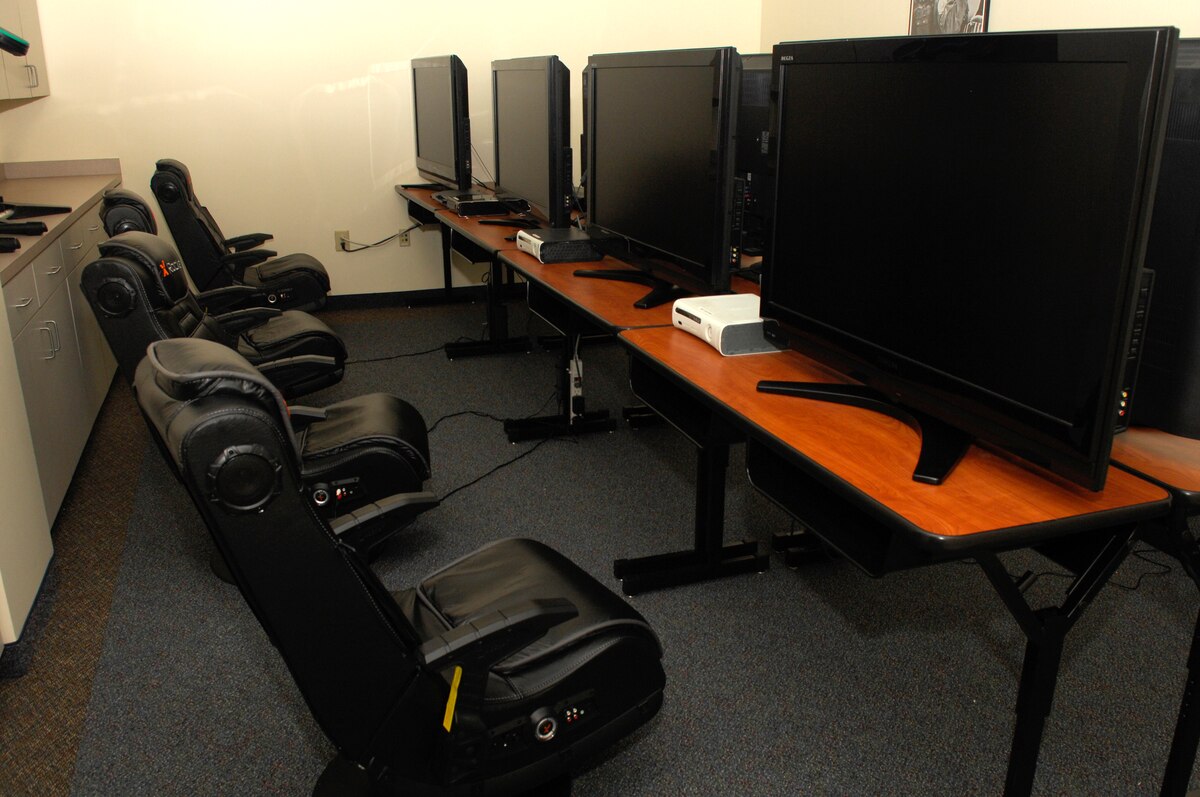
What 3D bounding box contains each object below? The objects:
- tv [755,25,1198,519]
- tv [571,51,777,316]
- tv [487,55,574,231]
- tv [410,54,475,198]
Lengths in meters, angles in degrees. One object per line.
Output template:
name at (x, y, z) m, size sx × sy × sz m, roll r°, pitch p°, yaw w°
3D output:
tv at (0.903, -0.272, 1.989) m, size 0.374 × 0.993 × 1.057 m, roll -10°, pitch 25°, yaw -28°
tv at (0.279, -0.791, 3.158) m, size 0.358 × 0.729 × 1.048 m, roll -6°, pitch 22°, yaw -21°
tv at (-0.357, -1.252, 4.284) m, size 0.143 × 0.787 × 1.063 m, roll -4°, pitch 23°, yaw -21°
tv at (-0.985, -1.665, 5.221) m, size 0.136 × 0.760 × 1.007 m, roll -4°, pitch 16°, yaw -24°
